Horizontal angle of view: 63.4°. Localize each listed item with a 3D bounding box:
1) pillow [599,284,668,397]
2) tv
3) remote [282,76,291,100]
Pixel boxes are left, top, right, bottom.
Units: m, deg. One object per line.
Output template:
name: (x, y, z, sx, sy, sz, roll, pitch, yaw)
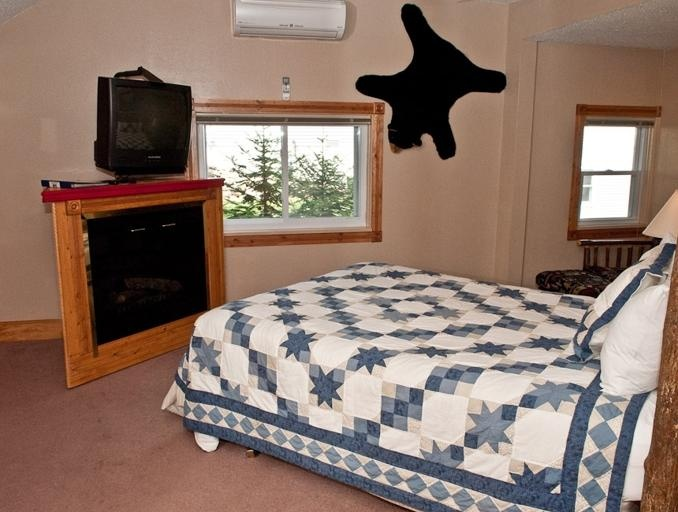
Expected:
pillow: (1.314, 0.385, 2.428, 0.272, 0.460, 0.499, 2, 3, 28)
tv: (-1.496, -0.986, 4.176, 0.509, 0.721, 0.807, 17, 18, 31)
remote: (-0.474, -1.528, 4.991, 0.079, 0.210, 0.028, -1, 13, -6)
